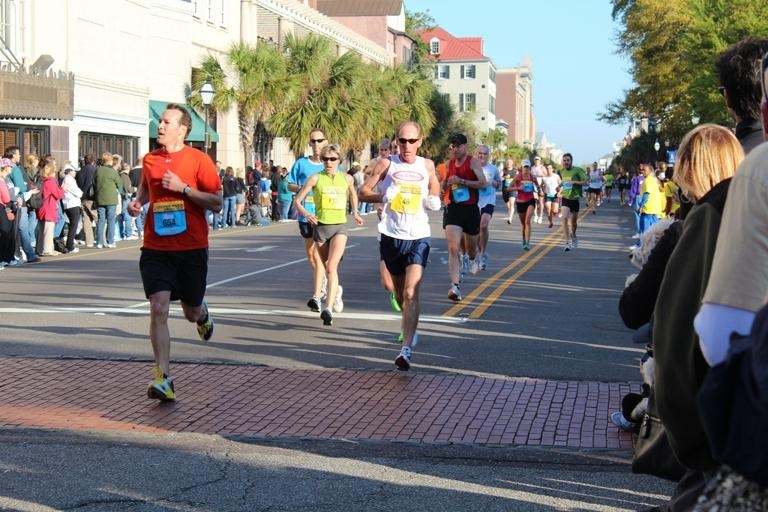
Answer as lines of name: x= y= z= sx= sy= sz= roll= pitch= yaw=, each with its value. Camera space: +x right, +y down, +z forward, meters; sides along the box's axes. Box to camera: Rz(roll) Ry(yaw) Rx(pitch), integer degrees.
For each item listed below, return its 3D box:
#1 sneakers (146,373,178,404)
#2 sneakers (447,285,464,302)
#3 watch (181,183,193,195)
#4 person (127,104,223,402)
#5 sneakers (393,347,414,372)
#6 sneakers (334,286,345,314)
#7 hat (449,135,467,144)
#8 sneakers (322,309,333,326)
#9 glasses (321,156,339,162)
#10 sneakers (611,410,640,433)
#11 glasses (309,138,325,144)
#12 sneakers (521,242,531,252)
sneakers: x=-1.953 y=1.211 z=6.580 sx=0.151 sy=0.181 sz=0.366 roll=-3 pitch=-23 yaw=4
sneakers: x=1.109 y=0.617 z=11.481 sx=0.144 sy=0.176 sz=0.381 roll=-2 pitch=-17 yaw=11
watch: x=-1.728 y=-0.580 z=6.504 sx=0.091 sy=0.055 sz=0.085 roll=-43 pitch=-10 yaw=-23
person: x=-1.895 y=-0.052 z=6.795 sx=0.807 sy=2.677 sz=1.026 roll=-2 pitch=8 yaw=-20
sneakers: x=0.212 y=1.081 z=7.591 sx=0.150 sy=0.249 sz=0.269 roll=1 pitch=8 yaw=1
sneakers: x=-0.640 y=0.633 z=10.934 sx=0.124 sy=0.160 sz=0.383 roll=-1 pitch=30 yaw=9
hat: x=1.303 y=-2.020 z=12.629 sx=0.201 sy=0.175 sz=0.299 roll=1 pitch=-6 yaw=28
sneakers: x=-0.732 y=0.812 z=9.492 sx=0.105 sy=0.263 sz=0.130 roll=7 pitch=50 yaw=13
glasses: x=-0.731 y=-1.335 z=10.100 sx=0.230 sy=0.074 sz=0.157 roll=2 pitch=9 yaw=9
sneakers: x=1.956 y=1.353 z=5.935 sx=0.095 sy=0.086 sz=0.211 roll=-3 pitch=12 yaw=-32
glasses: x=-0.937 y=-1.675 z=10.675 sx=0.217 sy=0.079 sz=0.182 roll=-1 pitch=9 yaw=-12
sneakers: x=3.772 y=-0.212 z=19.276 sx=0.148 sy=0.190 sz=0.444 roll=-3 pitch=-10 yaw=7
